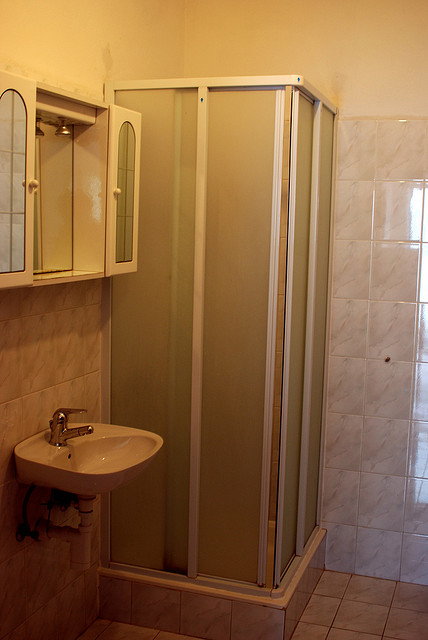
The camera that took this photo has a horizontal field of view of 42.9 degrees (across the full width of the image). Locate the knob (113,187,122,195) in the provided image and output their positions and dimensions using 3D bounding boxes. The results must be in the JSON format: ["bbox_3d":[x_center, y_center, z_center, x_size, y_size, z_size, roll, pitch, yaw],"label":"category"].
[{"bbox_3d":[-0.324,-0.435,1.826,0.013,0.013,0.028,6,33,-2],"label":"knob"}]

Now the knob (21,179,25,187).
[{"bbox_3d":[-0.468,-0.338,1.343,0.010,0.011,0.011,-29,19,-29],"label":"knob"}]

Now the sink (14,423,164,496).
[{"bbox_3d":[-0.383,0.450,1.758,0.380,0.194,0.462,3,1,19],"label":"sink"}]

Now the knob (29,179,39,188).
[{"bbox_3d":[-0.452,-0.350,1.382,0.014,0.025,0.017,3,12,2],"label":"knob"}]

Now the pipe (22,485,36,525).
[{"bbox_3d":[-0.582,0.583,1.719,0.032,0.116,0.072,2,0,15],"label":"pipe"}]

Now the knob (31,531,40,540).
[{"bbox_3d":[-0.558,0.676,1.706,0.013,0.024,0.026,2,0,32],"label":"knob"}]

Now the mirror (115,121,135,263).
[{"bbox_3d":[-0.308,-0.438,1.901,0.100,0.486,0.046,-2,5,-38],"label":"mirror"}]

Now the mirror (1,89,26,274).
[{"bbox_3d":[-0.476,-0.327,1.296,0.032,0.406,0.137,1,0,6],"label":"mirror"}]

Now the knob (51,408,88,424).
[{"bbox_3d":[-0.461,0.305,1.740,0.107,0.047,0.086,2,1,-7],"label":"knob"}]

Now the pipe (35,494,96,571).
[{"bbox_3d":[-0.478,0.678,1.783,0.177,0.312,0.097,8,18,-2],"label":"pipe"}]
